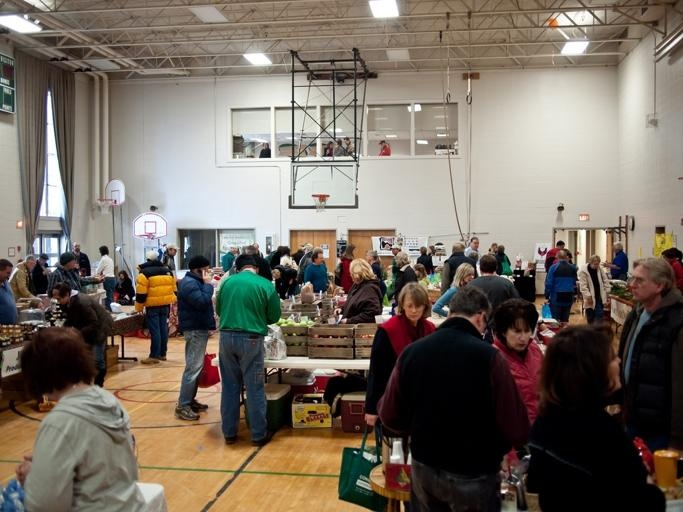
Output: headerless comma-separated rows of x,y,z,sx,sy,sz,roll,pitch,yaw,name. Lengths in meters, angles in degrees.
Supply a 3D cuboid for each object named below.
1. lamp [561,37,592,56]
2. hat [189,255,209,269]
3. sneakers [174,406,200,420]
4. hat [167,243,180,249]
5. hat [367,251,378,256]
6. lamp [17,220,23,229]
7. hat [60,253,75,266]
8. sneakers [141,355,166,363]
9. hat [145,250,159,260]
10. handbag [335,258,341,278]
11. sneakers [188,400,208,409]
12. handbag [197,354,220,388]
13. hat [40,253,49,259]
5.635,-4.983,13.365,0.551,0.156,0.628,-2,-6,29,lamp
-1.540,0.067,5.957,0.148,0.104,0.155,-4,4,-15,hat
-1.654,1.677,5.978,0.273,0.148,0.114,1,1,10,sneakers
-3.750,-0.231,12.340,0.250,0.100,0.176,4,0,-41,hat
0.490,-0.066,8.946,0.093,0.124,0.107,8,3,26,hat
-7.884,-0.774,13.634,0.136,0.153,0.204,3,11,-23,lamp
-3.874,0.049,7.820,0.137,0.118,0.106,-22,15,6,hat
-2.872,1.588,8.492,0.345,0.181,0.137,3,-2,-11,sneakers
-3.523,-0.020,10.309,0.222,0.247,0.123,1,-9,-26,hat
-0.066,0.225,10.651,0.092,0.316,0.219,5,-3,-19,handbag
-1.616,1.676,6.255,0.203,0.092,0.073,3,0,-14,sneakers
-1.459,1.248,5.990,0.181,0.353,0.275,5,-14,-35,handbag
-6.357,-0.002,11.812,0.119,0.070,0.176,2,6,-26,hat
